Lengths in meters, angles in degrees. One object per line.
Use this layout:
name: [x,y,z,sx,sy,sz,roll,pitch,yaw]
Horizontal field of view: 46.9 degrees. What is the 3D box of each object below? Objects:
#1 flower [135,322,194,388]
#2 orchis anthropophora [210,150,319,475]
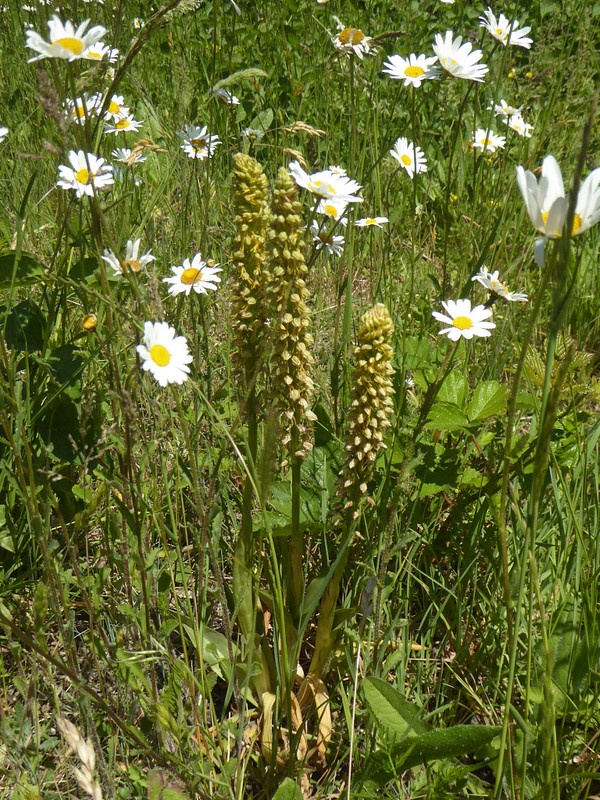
flower: [-0.235,-0.077,1.183,0.071,0.044,0.094,13,8,-7]
orchis anthropophora: [-0.057,-0.198,1.431,0.145,0.594,0.302,-10,32,-23]
